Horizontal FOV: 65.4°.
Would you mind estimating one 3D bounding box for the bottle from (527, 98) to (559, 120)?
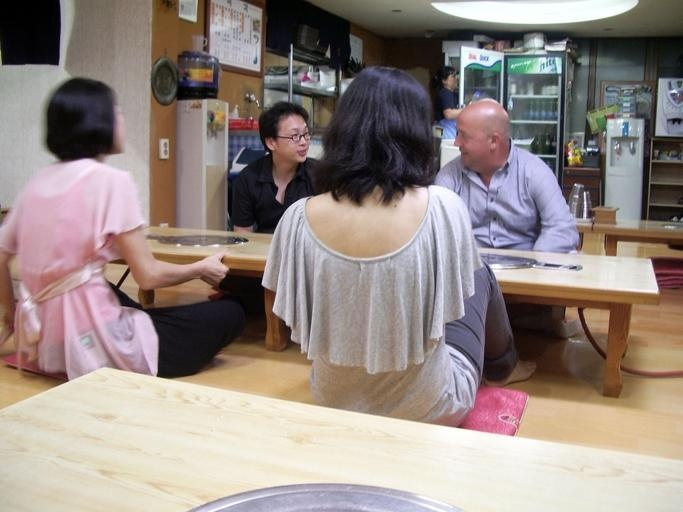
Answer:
[{"bbox_3d":[3.090,-2.227,8.098,0.308,0.322,0.154,1,1,28],"label":"bottle"}]

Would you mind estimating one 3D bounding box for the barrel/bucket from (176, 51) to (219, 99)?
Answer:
[{"bbox_3d":[-1.273,-1.526,4.687,0.371,0.410,0.394,3,-1,0],"label":"barrel/bucket"}]
